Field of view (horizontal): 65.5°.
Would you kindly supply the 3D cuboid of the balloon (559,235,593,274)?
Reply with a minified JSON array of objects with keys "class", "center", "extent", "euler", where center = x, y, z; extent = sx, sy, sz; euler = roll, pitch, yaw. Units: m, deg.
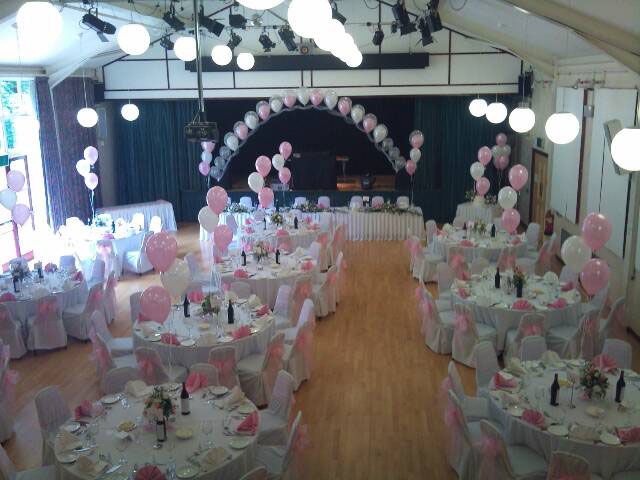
[{"class":"balloon","center":[3.647,0.220,7.278],"extent":[0.403,0.663,0.461],"euler":[0,-1,2]}]

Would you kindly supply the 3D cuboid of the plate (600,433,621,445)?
[{"class":"plate","center":[3.070,2.096,5.264],"extent":[0.198,0.055,0.161],"euler":[-2,8,10]}]

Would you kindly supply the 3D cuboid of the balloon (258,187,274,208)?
[{"class":"balloon","center":[-1.444,-1.050,13.001],"extent":[0.447,0.730,0.536],"euler":[0,-9,-7]}]

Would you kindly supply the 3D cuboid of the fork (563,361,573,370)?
[{"class":"fork","center":[3.261,1.619,6.516],"extent":[0.079,0.045,0.272],"euler":[-5,-5,15]}]

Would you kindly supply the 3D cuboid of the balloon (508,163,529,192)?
[{"class":"balloon","center":[4.501,-1.398,11.258],"extent":[0.334,0.547,0.732],"euler":[1,9,27]}]

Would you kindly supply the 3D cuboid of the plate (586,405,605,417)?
[{"class":"plate","center":[3.116,1.925,5.619],"extent":[0.175,0.072,0.201],"euler":[1,9,31]}]

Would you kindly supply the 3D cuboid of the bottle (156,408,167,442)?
[{"class":"bottle","center":[-1.730,1.971,5.365],"extent":[0.124,0.358,0.167],"euler":[-5,8,-21]}]

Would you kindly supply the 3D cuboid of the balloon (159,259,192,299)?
[{"class":"balloon","center":[-2.069,0.563,7.229],"extent":[0.395,0.669,0.465],"euler":[0,4,-7]}]

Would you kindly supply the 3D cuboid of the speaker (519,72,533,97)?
[{"class":"speaker","center":[6.169,-4.650,14.856],"extent":[0.288,0.734,0.479],"euler":[-1,19,10]}]

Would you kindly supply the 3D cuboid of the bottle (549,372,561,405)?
[{"class":"bottle","center":[2.743,1.712,5.814],"extent":[0.083,0.368,0.264],"euler":[1,8,24]}]

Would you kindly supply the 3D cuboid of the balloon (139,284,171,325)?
[{"class":"balloon","center":[-2.152,0.874,6.584],"extent":[0.406,0.661,0.473],"euler":[-3,10,-11]}]

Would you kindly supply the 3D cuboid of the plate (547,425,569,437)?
[{"class":"plate","center":[2.590,2.054,5.398],"extent":[0.205,0.047,0.164],"euler":[-1,8,18]}]

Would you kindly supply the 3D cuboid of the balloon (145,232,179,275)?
[{"class":"balloon","center":[-2.105,0.162,6.808],"extent":[0.411,0.675,0.467],"euler":[0,11,-3]}]
